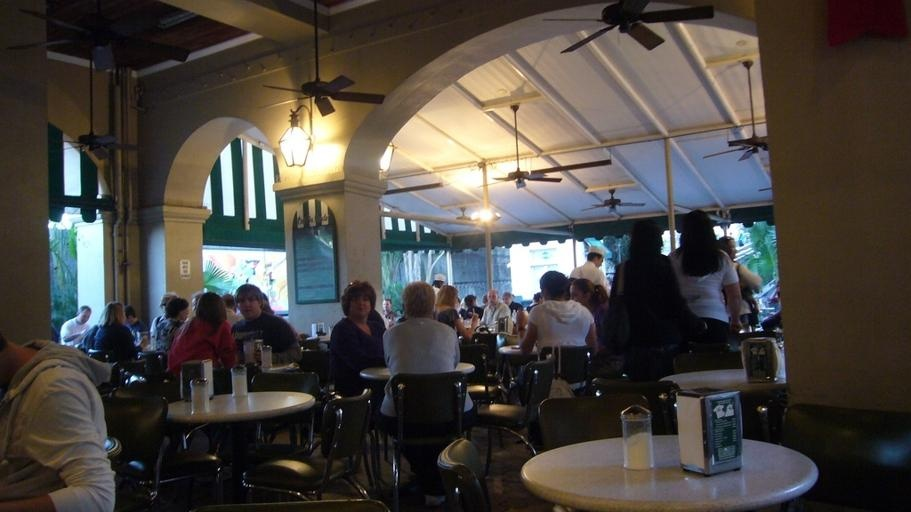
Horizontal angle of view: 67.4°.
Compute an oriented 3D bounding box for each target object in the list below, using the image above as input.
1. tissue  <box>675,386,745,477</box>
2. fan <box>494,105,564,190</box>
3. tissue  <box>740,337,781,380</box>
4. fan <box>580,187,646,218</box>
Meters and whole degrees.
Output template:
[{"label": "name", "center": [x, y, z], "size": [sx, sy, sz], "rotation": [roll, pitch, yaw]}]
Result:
[{"label": "tissue ", "center": [1.503, 1.023, 4.007], "size": [0.290, 0.581, 0.242], "rotation": [3, 1, 3]}, {"label": "fan", "center": [1.180, -1.894, 12.318], "size": [1.378, 1.160, 1.340], "rotation": [-3, 1, -10]}, {"label": "tissue ", "center": [2.325, 0.798, 5.191], "size": [0.266, 0.282, 0.335], "rotation": [-2, -11, 24]}, {"label": "fan", "center": [3.205, -1.050, 13.903], "size": [0.707, 0.223, 0.621], "rotation": [1, -3, -31]}]
